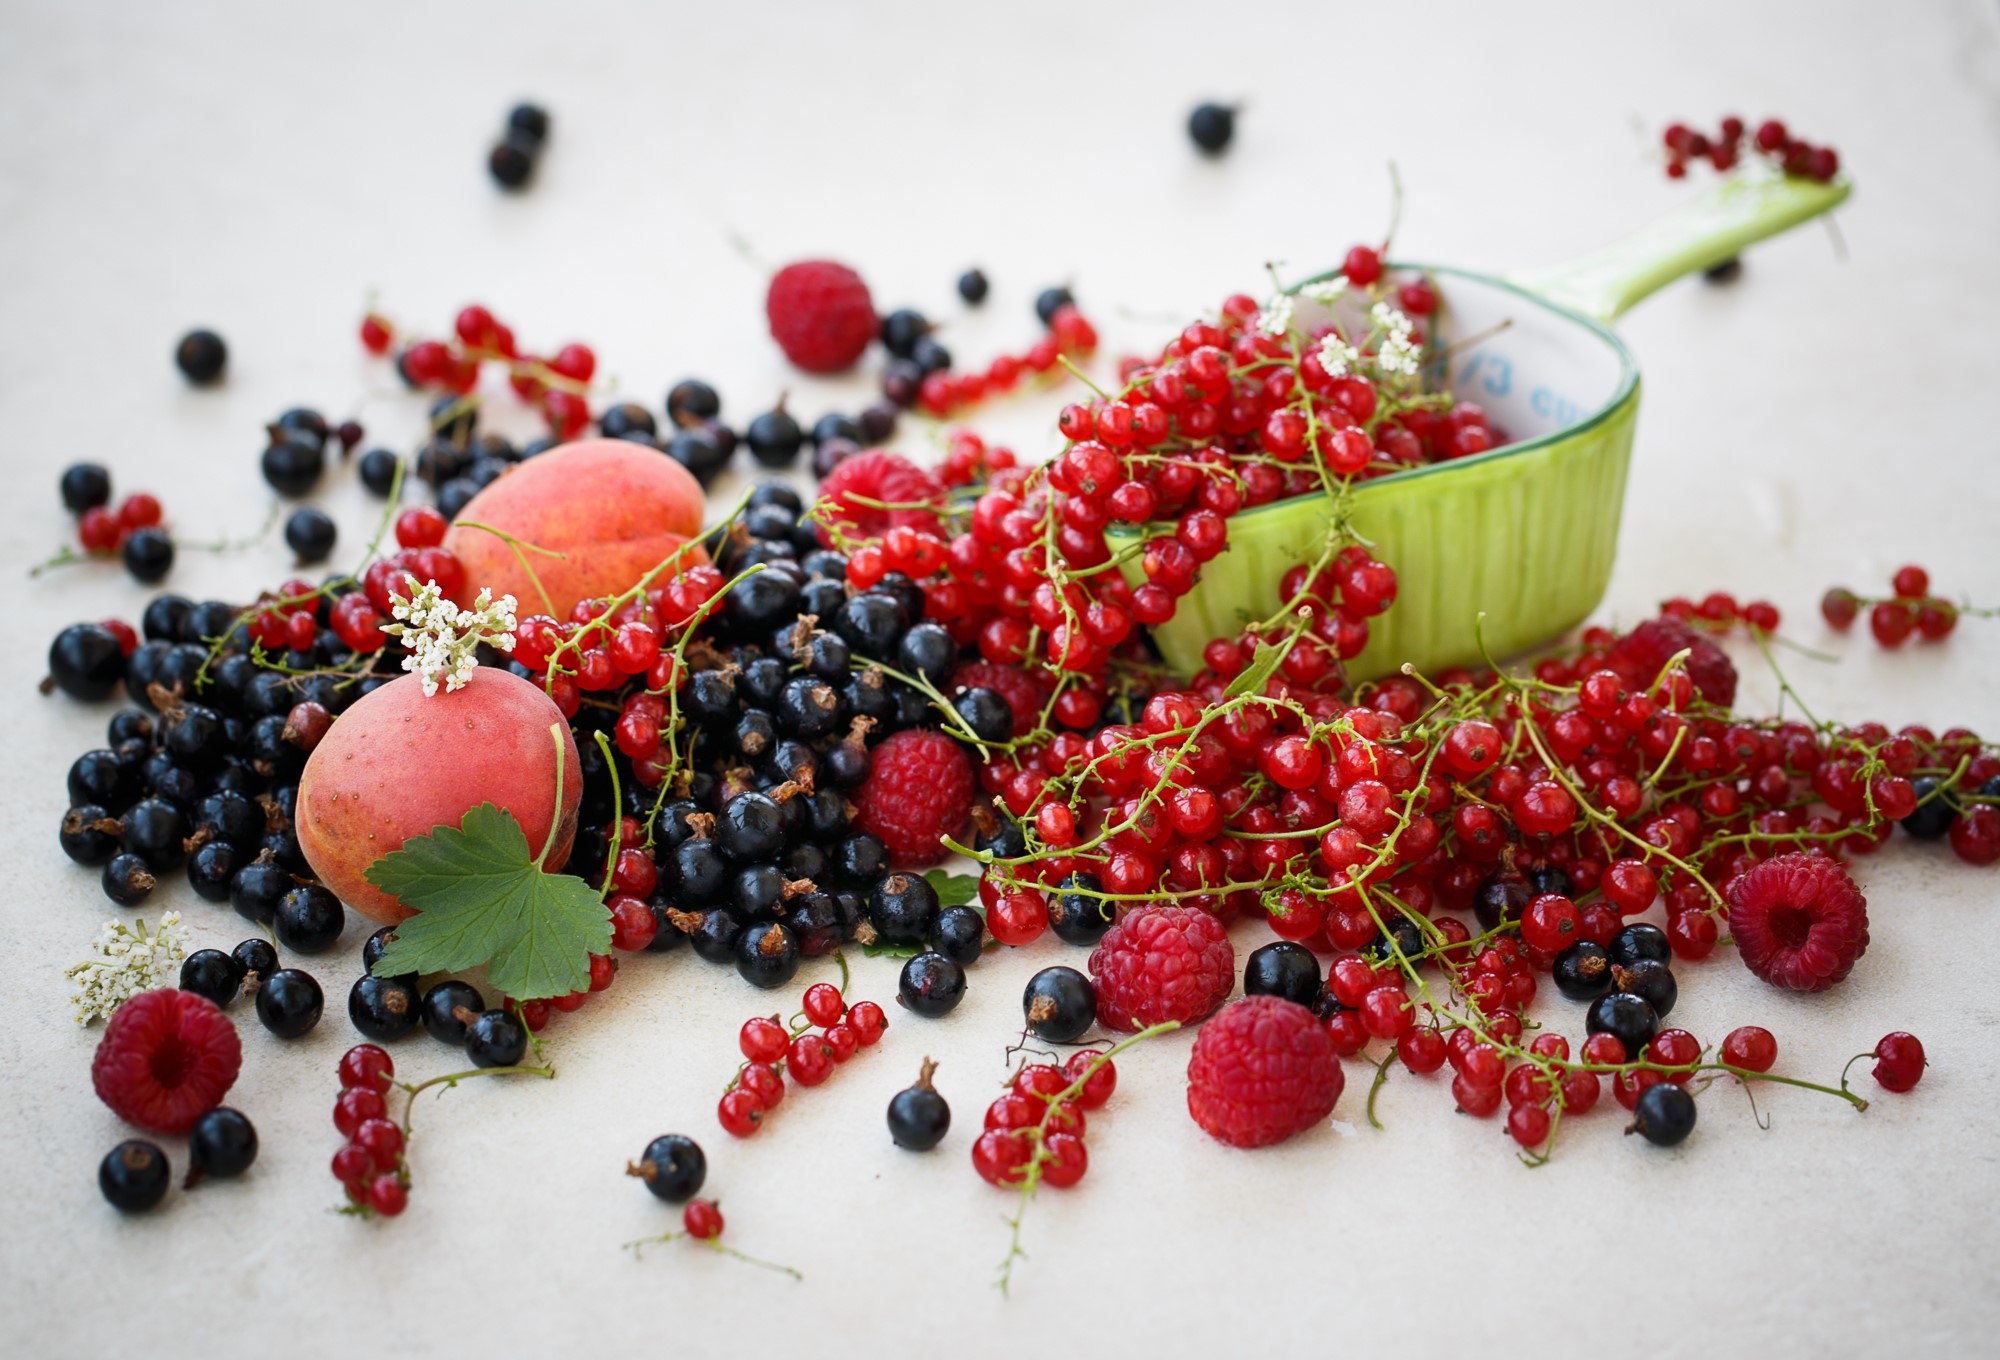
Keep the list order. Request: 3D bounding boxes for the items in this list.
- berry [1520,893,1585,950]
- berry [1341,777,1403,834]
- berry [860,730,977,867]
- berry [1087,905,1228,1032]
[{"bbox_3d":[0.705,0.308,2.618,0.068,0.068,0.067,-7,-1,13],"label":"berry"},{"bbox_3d":[0.465,0.162,2.646,0.069,0.069,0.066,32,20,27],"label":"berry"},{"bbox_3d":[-0.109,0.150,2.866,0.149,0.153,0.177,6,22,1],"label":"berry"},{"bbox_3d":[0.196,0.346,2.620,0.171,0.137,0.146,-14,3,-14],"label":"berry"}]
